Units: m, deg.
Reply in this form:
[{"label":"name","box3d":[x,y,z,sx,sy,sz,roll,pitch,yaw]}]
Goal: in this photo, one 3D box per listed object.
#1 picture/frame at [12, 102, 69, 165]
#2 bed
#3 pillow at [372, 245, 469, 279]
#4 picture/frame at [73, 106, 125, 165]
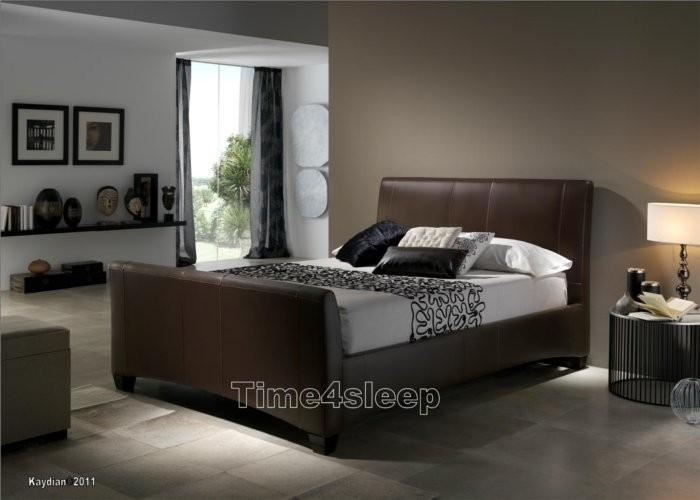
[{"label":"picture/frame","box3d":[-3.929,-1.477,6.094,0.058,0.911,0.763,7,9,44]},{"label":"bed","box3d":[0.214,0.362,3.380,1.936,1.427,2.641,2,3,44]},{"label":"pillow","box3d":[0.511,0.068,3.511,0.435,0.120,0.276,-1,34,34]},{"label":"picture/frame","box3d":[-3.415,-1.559,6.527,0.791,0.950,0.066,-4,8,-45]}]
